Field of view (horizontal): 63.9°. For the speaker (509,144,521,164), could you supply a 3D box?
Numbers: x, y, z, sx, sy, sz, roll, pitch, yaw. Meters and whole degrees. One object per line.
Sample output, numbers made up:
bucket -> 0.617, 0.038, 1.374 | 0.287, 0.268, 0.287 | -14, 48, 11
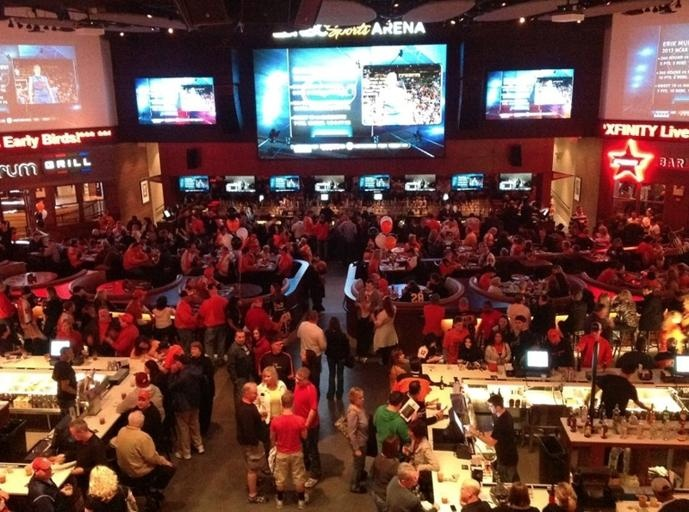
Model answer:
speaker -> 5.711, -3.387, 18.422 | 0.386, 0.691, 0.365 | -2, 10, -7

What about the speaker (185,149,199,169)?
speaker -> -4.999, -3.263, 18.291 | 0.591, 0.605, 1.090 | 1, 8, -16

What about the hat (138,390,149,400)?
hat -> -2.541, 1.759, 6.999 | 0.125, 0.132, 0.093 | -3, 10, -14

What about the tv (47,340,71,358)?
tv -> -4.341, 1.421, 8.452 | 0.275, 0.242, 0.150 | 0, -2, -2

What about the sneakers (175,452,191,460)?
sneakers -> -2.329, 2.898, 7.986 | 0.208, 0.090, 0.097 | 16, 9, 4

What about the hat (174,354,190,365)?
hat -> -2.260, 1.464, 7.728 | 0.122, 0.151, 0.158 | 18, 4, -43

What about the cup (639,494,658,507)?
cup -> 3.356, 2.732, 6.131 | 0.225, 0.093, 0.109 | -1, 10, -2

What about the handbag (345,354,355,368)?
handbag -> 0.068, 1.745, 8.980 | 0.172, 0.162, 0.240 | 19, 6, -3

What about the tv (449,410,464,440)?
tv -> 1.407, 2.091, 6.922 | 0.170, 0.249, 0.314 | 1, 10, 11

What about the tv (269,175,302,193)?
tv -> -2.139, -2.615, 19.938 | 1.137, 0.606, 0.231 | -2, 10, -9

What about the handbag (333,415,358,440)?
handbag -> 0.002, 2.158, 7.001 | 0.164, 0.292, 0.320 | -9, 13, -39

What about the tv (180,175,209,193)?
tv -> -5.450, -2.623, 20.074 | 1.104, 0.597, 0.228 | 0, 10, 7

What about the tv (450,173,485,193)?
tv -> 4.384, -2.636, 19.712 | 1.226, 0.611, 0.355 | 0, 10, 6

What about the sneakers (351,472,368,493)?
sneakers -> 0.233, 2.990, 7.332 | 0.274, 0.254, 0.136 | -7, 12, -33

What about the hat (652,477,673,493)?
hat -> 3.392, 2.455, 5.903 | 0.201, 0.138, 0.123 | 0, 10, 3

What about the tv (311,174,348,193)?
tv -> -0.536, -2.589, 19.869 | 1.098, 0.600, 0.264 | -2, 10, -5
